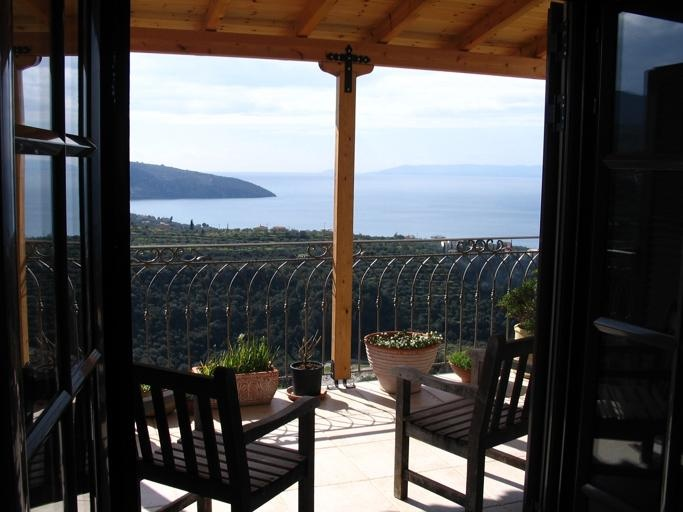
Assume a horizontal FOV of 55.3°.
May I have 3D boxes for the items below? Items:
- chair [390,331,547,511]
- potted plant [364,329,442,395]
[{"bbox_3d":[0.523,0.698,2.794,0.336,0.863,0.651,-2,6,-33],"label":"chair"},{"bbox_3d":[0.393,0.681,4.477,0.440,0.323,0.458,0,-3,-2],"label":"potted plant"}]
